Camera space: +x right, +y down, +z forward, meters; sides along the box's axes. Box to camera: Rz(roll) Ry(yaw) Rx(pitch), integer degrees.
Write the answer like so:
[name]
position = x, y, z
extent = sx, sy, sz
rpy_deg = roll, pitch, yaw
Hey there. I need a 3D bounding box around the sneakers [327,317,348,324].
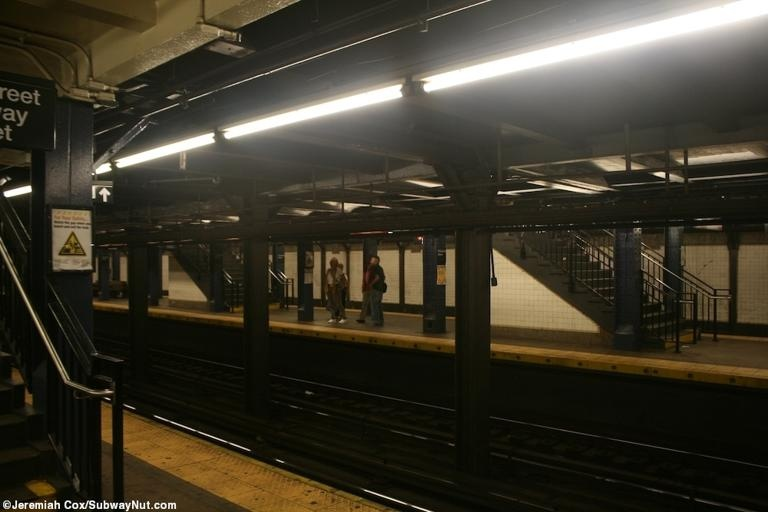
[sneakers]
position = -1.379, 1.912, 18.884
extent = 0.597, 0.244, 0.197
rpy_deg = 13, -16, -42
